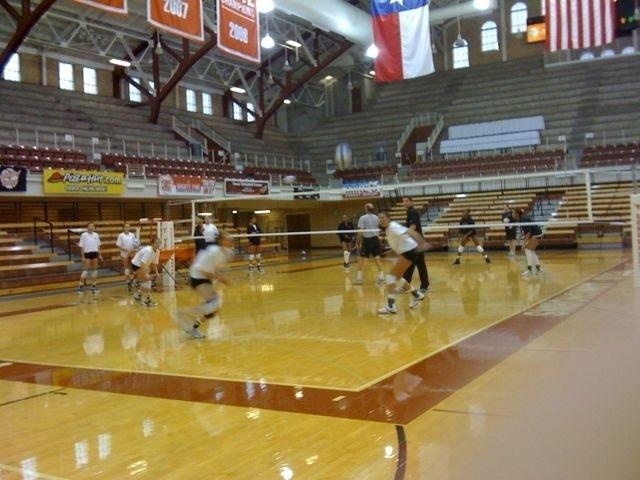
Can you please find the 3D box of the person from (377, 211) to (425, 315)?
[{"bbox_3d":[1.289,0.329,7.953,0.806,1.615,1.091,-3,-2,-30],"label":"person"}]

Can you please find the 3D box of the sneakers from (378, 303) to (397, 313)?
[{"bbox_3d":[1.058,1.093,7.727,0.301,0.145,0.133,2,-2,4],"label":"sneakers"}]
